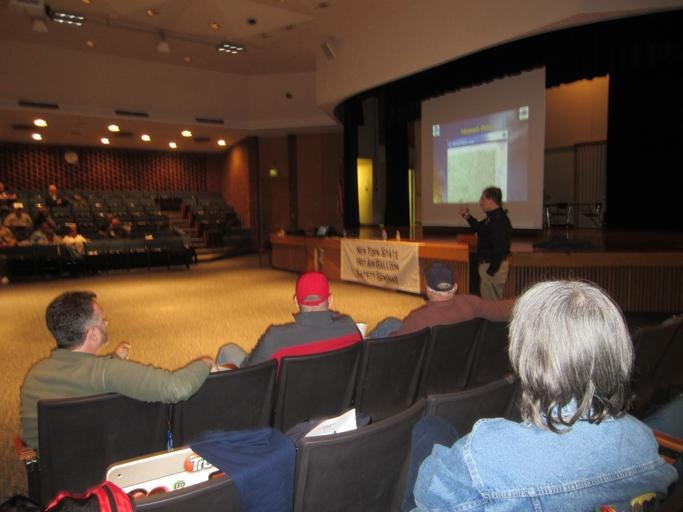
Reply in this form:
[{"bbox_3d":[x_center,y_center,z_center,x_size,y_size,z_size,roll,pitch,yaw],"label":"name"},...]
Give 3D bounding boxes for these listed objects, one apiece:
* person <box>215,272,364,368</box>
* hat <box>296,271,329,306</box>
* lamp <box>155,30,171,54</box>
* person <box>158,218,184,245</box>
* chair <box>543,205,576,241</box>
[{"bbox_3d":[-0.336,0.358,3.032,0.466,0.597,0.953,-4,6,-24],"label":"person"},{"bbox_3d":[-0.186,0.250,3.044,0.173,0.333,0.149,1,-9,3],"label":"hat"},{"bbox_3d":[-3.604,-4.272,9.978,0.200,0.433,0.717,-6,7,-14],"label":"lamp"},{"bbox_3d":[-4.652,-0.665,13.422,0.228,0.337,0.778,-11,28,-28],"label":"person"},{"bbox_3d":[5.743,-1.041,13.031,0.525,0.760,0.495,6,-11,18],"label":"chair"}]
